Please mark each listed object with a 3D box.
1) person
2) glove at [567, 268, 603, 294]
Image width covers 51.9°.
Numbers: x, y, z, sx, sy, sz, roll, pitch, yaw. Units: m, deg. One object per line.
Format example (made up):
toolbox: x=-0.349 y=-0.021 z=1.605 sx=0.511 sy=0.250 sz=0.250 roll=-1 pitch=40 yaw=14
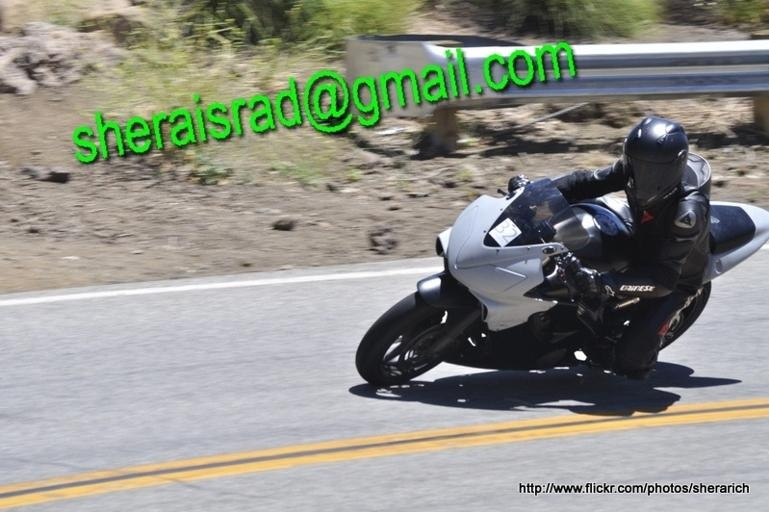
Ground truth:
person: x=1.868 y=-0.036 z=5.909 sx=1.178 sy=2.020 sz=1.040 roll=-1 pitch=22 yaw=11
glove: x=1.452 y=0.182 z=5.587 sx=0.246 sy=0.232 sz=0.162 roll=-19 pitch=25 yaw=-41
